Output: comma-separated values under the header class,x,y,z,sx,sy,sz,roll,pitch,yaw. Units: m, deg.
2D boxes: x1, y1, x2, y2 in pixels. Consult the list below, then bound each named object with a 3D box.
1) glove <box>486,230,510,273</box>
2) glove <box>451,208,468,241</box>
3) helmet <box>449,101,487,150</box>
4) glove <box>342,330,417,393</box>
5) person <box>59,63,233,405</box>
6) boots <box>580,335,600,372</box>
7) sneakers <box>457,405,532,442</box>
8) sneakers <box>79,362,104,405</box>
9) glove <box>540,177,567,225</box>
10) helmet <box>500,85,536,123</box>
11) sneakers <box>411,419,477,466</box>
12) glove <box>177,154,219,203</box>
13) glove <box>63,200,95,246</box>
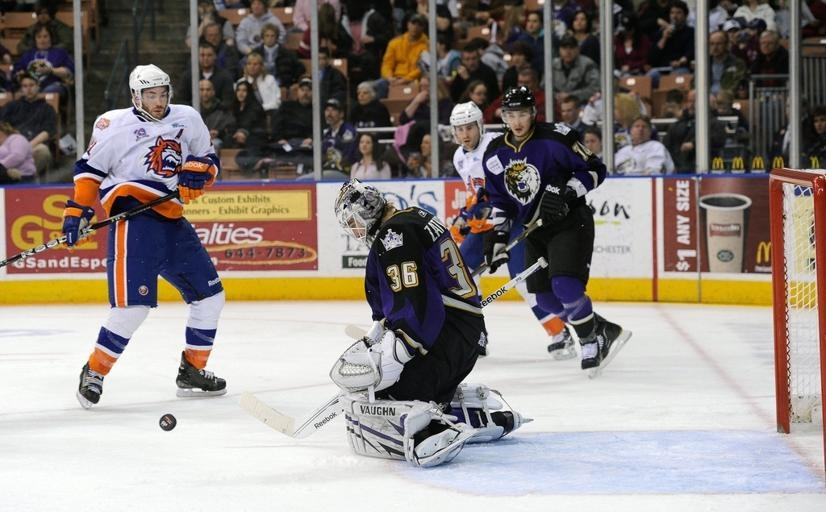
class,x,y,z,sx,sy,sz,roll,pitch,yaw
glove,0.630,-0.021,8.943,0.196,0.302,0.095,-11,-29,38
glove,0.344,-0.253,9.796,0.095,0.232,0.186,11,11,-8
helmet,0.442,-1.034,9.516,0.250,0.389,0.217,-1,15,3
glove,-0.226,0.652,7.336,0.401,0.408,0.391,-14,19,-42
person,-1.913,-0.146,8.429,1.145,2.339,0.744,-4,15,-11
boots,1.329,0.735,8.790,0.144,0.292,0.107,28,-29,-38
sneakers,0.520,1.069,7.565,0.440,0.195,0.133,1,41,-9
sneakers,-2.287,0.912,8.336,0.122,0.150,0.349,29,2,-28
glove,1.041,-0.371,8.724,0.197,0.317,0.100,0,15,8
helmet,0.784,-1.124,8.811,0.243,0.230,0.268,-2,22,6
sneakers,0.161,1.139,7.273,0.372,0.151,0.254,-30,16,27
glove,-1.533,-0.548,8.574,0.273,0.343,0.139,34,-3,44
glove,-2.410,-0.237,8.450,0.181,0.324,0.278,5,16,25
